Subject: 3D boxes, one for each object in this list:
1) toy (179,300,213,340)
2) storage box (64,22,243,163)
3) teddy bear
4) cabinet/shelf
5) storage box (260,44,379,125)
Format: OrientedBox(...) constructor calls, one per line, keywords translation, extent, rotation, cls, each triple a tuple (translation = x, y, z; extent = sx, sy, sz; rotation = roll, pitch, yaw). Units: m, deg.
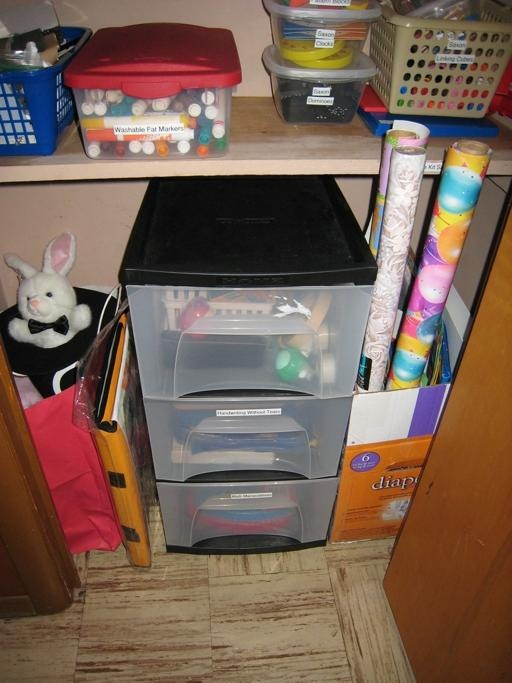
OrientedBox(translation=(-0.091, -0.036, 0.809), extent=(0.047, 0.052, 0.031), rotation=(9, 20, 5), cls="toy")
OrientedBox(translation=(-0.157, -0.369, 0.826), extent=(0.218, 0.122, 0.249), rotation=(-1, 40, -4), cls="storage box")
OrientedBox(translation=(-0.451, -0.103, 1.097), extent=(0.174, 0.165, 0.186), rotation=(-13, 45, -16), cls="teddy bear")
OrientedBox(translation=(-0.029, 0.077, 1.105), extent=(0.386, 0.754, 0.424), rotation=(-2, 43, -5), cls="cabinet/shelf")
OrientedBox(translation=(0.108, -0.417, 0.844), extent=(0.149, 0.075, 0.116), rotation=(0, 46, 1), cls="storage box")
